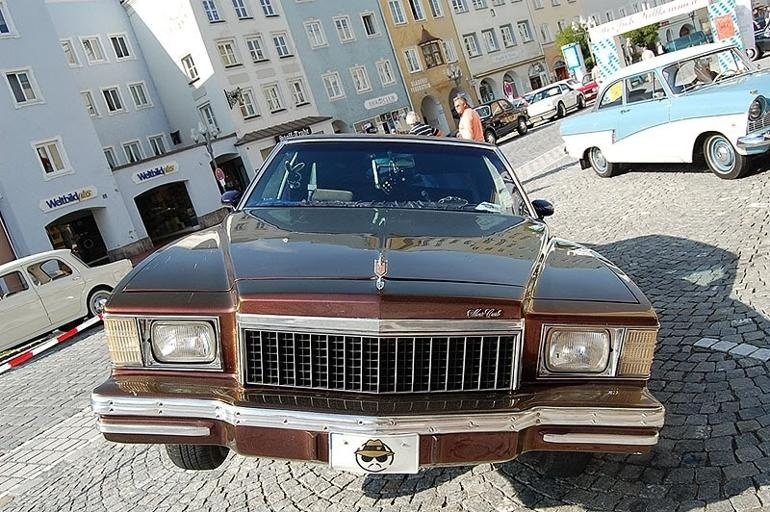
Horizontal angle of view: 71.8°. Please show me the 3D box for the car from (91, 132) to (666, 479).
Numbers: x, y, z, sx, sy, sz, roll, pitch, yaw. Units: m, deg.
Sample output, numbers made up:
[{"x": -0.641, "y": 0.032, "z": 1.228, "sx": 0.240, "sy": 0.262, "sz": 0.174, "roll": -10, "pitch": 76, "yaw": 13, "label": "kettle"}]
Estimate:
[{"x": -0.004, "y": -0.209, "z": 4.730, "sx": 3.572, "sy": 1.536, "sz": 4.431, "roll": 1, "pitch": 22, "yaw": 6, "label": "car"}]

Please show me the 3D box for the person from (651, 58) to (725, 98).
[{"x": 5.308, "y": -3.126, "z": 9.298, "sx": 0.864, "sy": 0.495, "sz": 0.511, "roll": -13, "pitch": 18, "yaw": -6, "label": "person"}]
